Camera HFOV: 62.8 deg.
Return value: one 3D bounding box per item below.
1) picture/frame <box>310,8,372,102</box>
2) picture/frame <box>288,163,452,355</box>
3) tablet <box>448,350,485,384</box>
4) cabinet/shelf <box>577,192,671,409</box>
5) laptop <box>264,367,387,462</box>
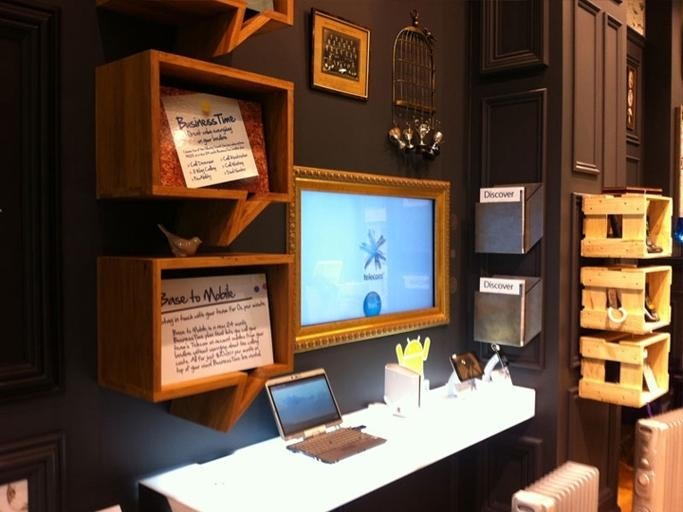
[{"bbox_3d":[-0.017,-0.931,2.588,0.034,0.422,0.441,-3,-6,40],"label":"picture/frame"},{"bbox_3d":[0.156,0.004,2.780,1.006,0.793,0.036,-2,2,-37],"label":"picture/frame"},{"bbox_3d":[0.677,0.593,2.978,0.055,0.177,0.305,-2,5,36],"label":"tablet"},{"bbox_3d":[1.583,0.285,3.126,0.409,1.293,0.540,-1,5,45],"label":"cabinet/shelf"},{"bbox_3d":[-0.056,0.637,2.294,0.385,0.295,0.400,-2,-2,-44],"label":"laptop"}]
